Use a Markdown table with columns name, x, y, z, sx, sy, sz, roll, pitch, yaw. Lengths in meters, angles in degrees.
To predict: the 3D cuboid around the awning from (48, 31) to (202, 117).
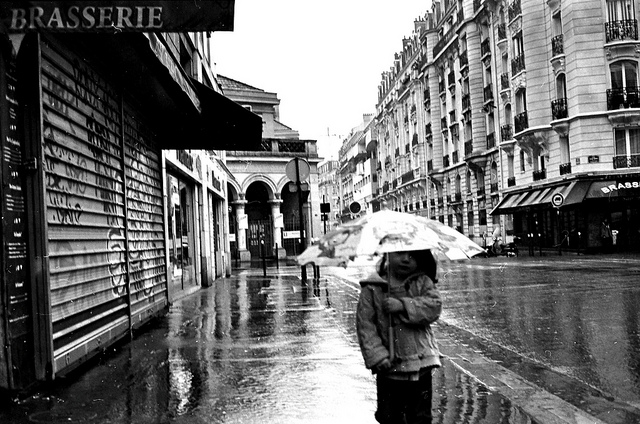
| name | x | y | z | sx | sy | sz | roll | pitch | yaw |
| --- | --- | --- | --- | --- | --- | --- | --- | --- | --- |
| awning | -2.834 | -2.185 | 9.836 | 1.316 | 1.068 | 4.010 | -1 | 0 | 1 |

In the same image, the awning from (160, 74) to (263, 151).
| name | x | y | z | sx | sy | sz | roll | pitch | yaw |
| --- | --- | --- | --- | --- | --- | --- | --- | --- | --- |
| awning | -2.086 | -1.741 | 12.329 | 1.246 | 0.653 | 1.797 | -4 | -11 | 25 |

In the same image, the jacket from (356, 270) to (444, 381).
| name | x | y | z | sx | sy | sz | roll | pitch | yaw |
| --- | --- | --- | --- | --- | --- | --- | --- | --- | --- |
| jacket | 0.775 | 1.075 | 5.899 | 0.689 | 1.104 | 0.590 | -4 | -3 | 2 |

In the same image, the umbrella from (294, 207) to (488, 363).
| name | x | y | z | sx | sy | sz | roll | pitch | yaw |
| --- | --- | --- | --- | --- | --- | --- | --- | --- | --- |
| umbrella | 0.593 | 0.681 | 6.123 | 1.367 | 1.307 | 1.499 | -17 | -6 | 34 |

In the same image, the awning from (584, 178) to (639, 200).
| name | x | y | z | sx | sy | sz | roll | pitch | yaw |
| --- | --- | --- | --- | --- | --- | --- | --- | --- | --- |
| awning | 15.115 | -1.207 | 31.341 | 2.931 | 1.044 | 1.078 | 3 | 4 | 2 |
